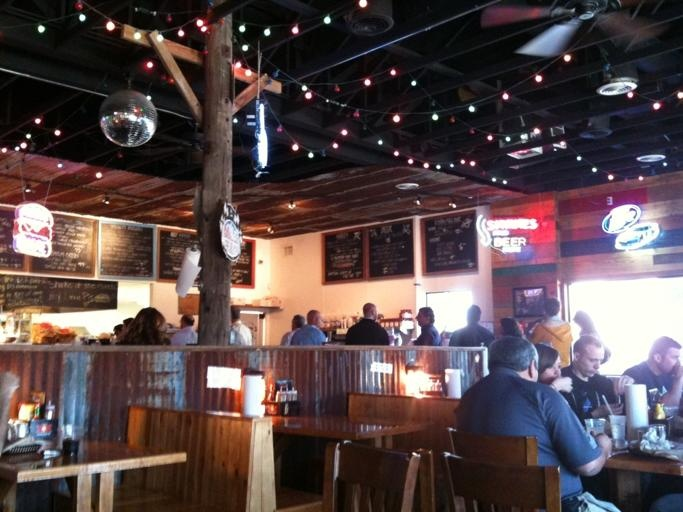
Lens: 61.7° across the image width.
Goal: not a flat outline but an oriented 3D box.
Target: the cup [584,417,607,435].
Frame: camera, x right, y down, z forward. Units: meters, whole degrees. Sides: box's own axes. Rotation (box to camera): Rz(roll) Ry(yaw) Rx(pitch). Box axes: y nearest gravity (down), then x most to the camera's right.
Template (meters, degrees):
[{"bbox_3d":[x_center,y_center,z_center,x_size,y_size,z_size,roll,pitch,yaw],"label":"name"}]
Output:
[{"bbox_3d":[1.404,0.918,3.167,0.118,0.094,0.115,1,-14,0],"label":"cup"}]

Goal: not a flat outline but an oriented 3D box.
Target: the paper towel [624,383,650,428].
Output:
[{"bbox_3d":[1.662,0.838,3.205,0.110,0.241,0.228,-5,-11,26],"label":"paper towel"}]

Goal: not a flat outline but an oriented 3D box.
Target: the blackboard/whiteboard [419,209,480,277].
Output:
[{"bbox_3d":[1.780,-0.209,9.129,0.929,1.083,0.105,-7,-12,39],"label":"blackboard/whiteboard"}]

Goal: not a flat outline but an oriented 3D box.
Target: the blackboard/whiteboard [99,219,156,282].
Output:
[{"bbox_3d":[-3.584,-0.087,9.432,0.076,1.102,0.901,-14,-15,43],"label":"blackboard/whiteboard"}]

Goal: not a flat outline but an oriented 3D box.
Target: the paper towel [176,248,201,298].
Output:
[{"bbox_3d":[-1.229,0.129,4.591,0.183,0.371,0.319,2,-10,-17],"label":"paper towel"}]

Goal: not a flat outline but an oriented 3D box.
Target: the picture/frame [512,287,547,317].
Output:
[{"bbox_3d":[2.737,0.660,8.211,0.419,0.443,0.055,-2,-15,44],"label":"picture/frame"}]

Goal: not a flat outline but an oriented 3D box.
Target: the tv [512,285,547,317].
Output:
[{"bbox_3d":[2.742,0.646,8.221,0.425,0.450,0.056,-2,-14,44],"label":"tv"}]

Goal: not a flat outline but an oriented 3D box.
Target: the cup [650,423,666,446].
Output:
[{"bbox_3d":[1.657,0.931,2.995,0.082,0.099,0.085,1,-4,0],"label":"cup"}]
